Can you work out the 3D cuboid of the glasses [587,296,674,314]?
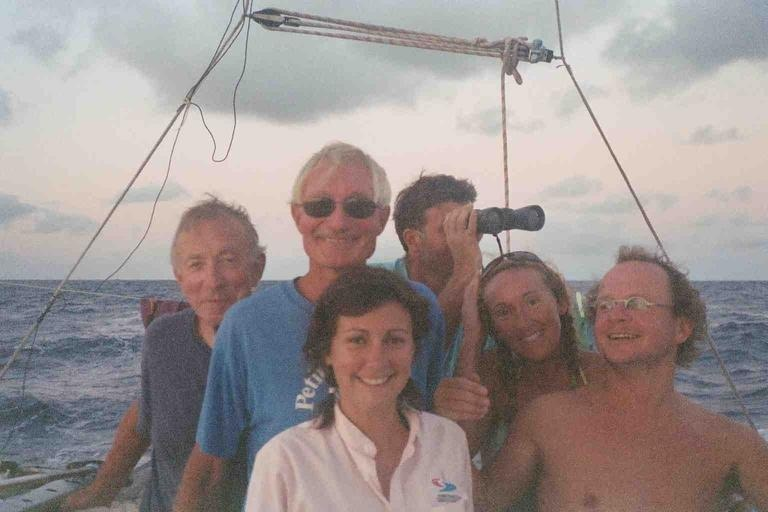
[{"bbox_3d":[1.481,0.278,4.363,0.435,0.085,0.052,-2,-7,0],"label":"glasses"}]

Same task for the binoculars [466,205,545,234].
[{"bbox_3d":[0.692,-0.216,4.400,0.440,0.280,0.273,3,14,11],"label":"binoculars"}]
